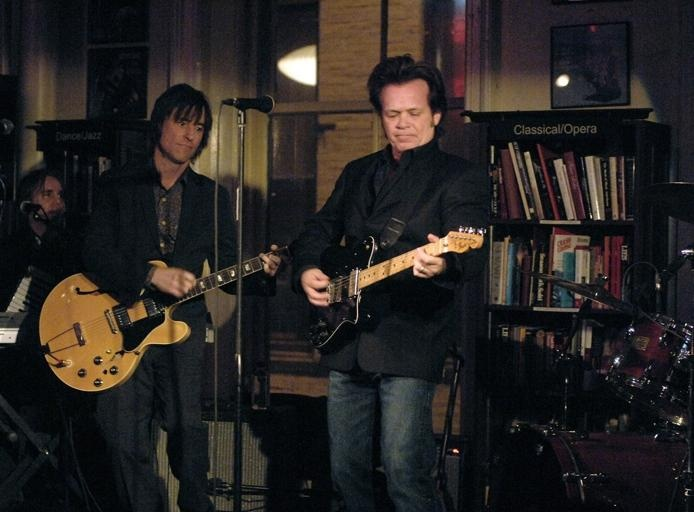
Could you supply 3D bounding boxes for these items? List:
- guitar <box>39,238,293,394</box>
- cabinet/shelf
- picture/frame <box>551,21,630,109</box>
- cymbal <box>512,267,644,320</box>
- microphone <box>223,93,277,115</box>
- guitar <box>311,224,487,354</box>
[{"bbox_3d":[-0.898,0.270,4.852,1.414,0.576,0.152,-21,-10,7],"label":"guitar"},{"bbox_3d":[1.243,0.045,5.356,1.756,1.718,0.682,0,-5,6],"label":"cabinet/shelf"},{"bbox_3d":[1.421,-1.102,5.701,0.481,0.474,0.023,-3,9,-3],"label":"picture/frame"},{"bbox_3d":[1.242,0.199,5.096,0.630,0.235,0.176,2,0,9],"label":"cymbal"},{"bbox_3d":[-0.458,-0.711,4.644,0.229,0.086,0.255,2,0,-2],"label":"microphone"},{"bbox_3d":[0.196,0.144,4.356,0.738,0.598,0.231,2,0,34],"label":"guitar"}]
